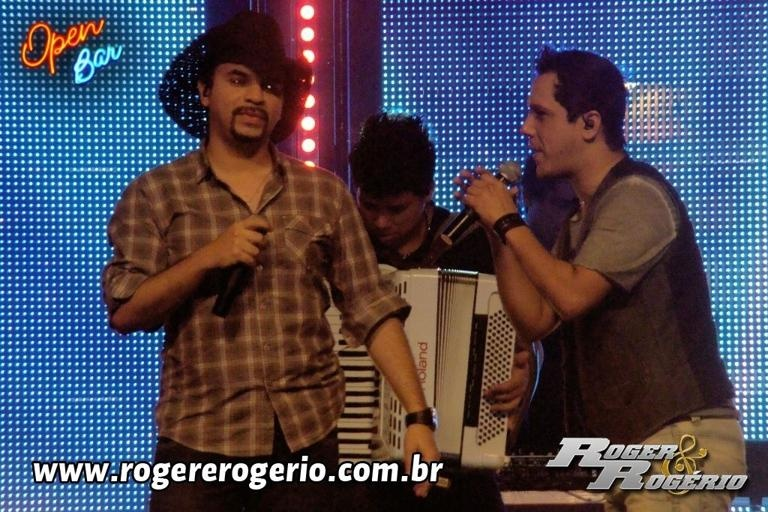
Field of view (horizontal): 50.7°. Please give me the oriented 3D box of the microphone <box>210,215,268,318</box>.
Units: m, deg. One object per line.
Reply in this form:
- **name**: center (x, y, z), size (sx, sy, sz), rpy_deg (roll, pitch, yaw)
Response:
- **microphone**: center (-0.521, 0.063, 2.962), size (0.214, 0.315, 0.147), rpy_deg (-1, -7, -1)

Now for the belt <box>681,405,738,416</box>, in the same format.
- **belt**: center (1.260, 0.597, 3.107), size (0.212, 0.045, 0.035), rpy_deg (0, -7, -18)

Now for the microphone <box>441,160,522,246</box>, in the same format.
- **microphone**: center (0.416, -0.223, 3.455), size (0.446, 0.130, 0.139), rpy_deg (-40, -45, 0)

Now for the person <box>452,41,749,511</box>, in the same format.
- **person**: center (0.886, 0.076, 3.265), size (0.964, 1.907, 0.393), rpy_deg (-2, -7, 6)
